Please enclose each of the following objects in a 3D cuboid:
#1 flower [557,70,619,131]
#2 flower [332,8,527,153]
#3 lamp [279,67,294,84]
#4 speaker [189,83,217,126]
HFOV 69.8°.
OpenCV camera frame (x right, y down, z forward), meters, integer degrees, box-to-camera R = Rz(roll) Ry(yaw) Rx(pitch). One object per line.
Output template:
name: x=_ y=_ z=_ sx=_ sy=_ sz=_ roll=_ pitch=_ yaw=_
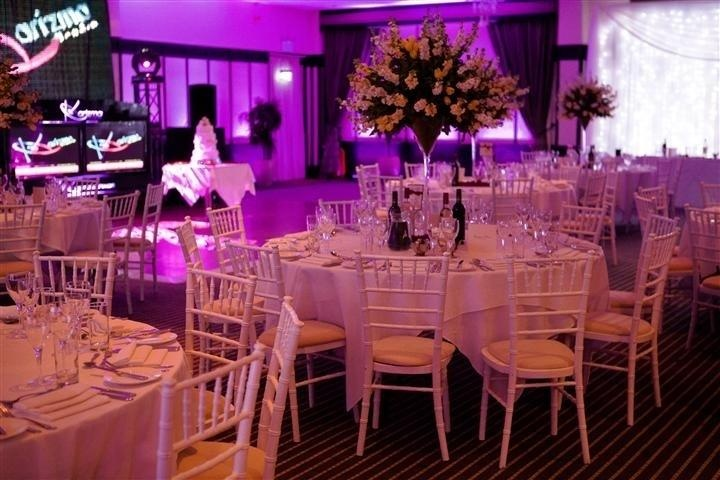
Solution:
flower: x=4.463 y=-2.676 z=10.105 sx=0.941 sy=0.992 sz=0.429 roll=0 pitch=8 yaw=11
flower: x=0.595 y=-1.244 z=4.531 sx=1.312 sy=1.148 sz=1.241 roll=-5 pitch=10 yaw=-36
lamp: x=-2.167 y=-4.866 z=15.308 sx=0.189 sy=0.456 sz=0.548 roll=3 pitch=8 yaw=29
speaker: x=-3.827 y=-3.260 z=12.583 sx=0.604 sy=1.001 sz=0.442 roll=-4 pitch=8 yaw=-23
